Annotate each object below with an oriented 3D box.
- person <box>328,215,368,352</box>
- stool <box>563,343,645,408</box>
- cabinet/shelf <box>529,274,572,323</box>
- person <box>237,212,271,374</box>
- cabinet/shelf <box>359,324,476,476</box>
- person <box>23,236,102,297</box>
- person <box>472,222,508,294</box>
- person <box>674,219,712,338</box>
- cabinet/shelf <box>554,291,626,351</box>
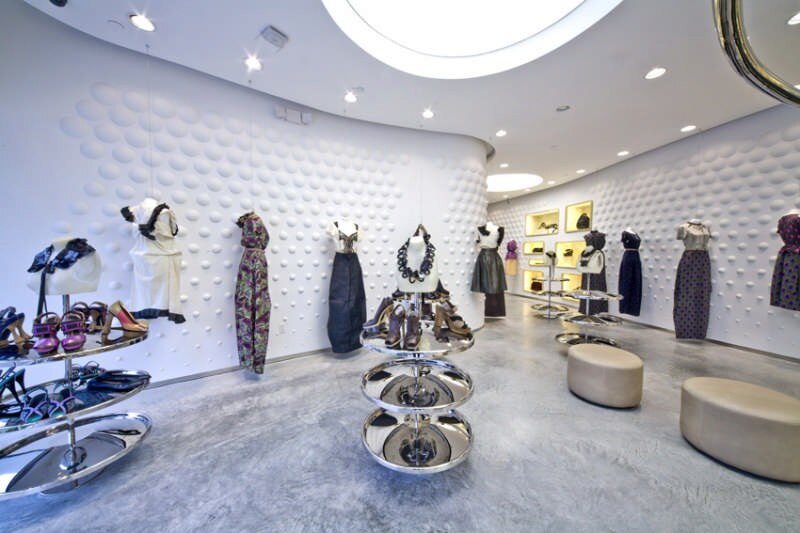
[{"bbox_3d":[-0.754,0.305,6.002,0.584,1.921,0.386,0,0,-15],"label":"person"},{"bbox_3d":[2.367,1.275,4.788,0.669,0.474,0.695,5,5,20],"label":"stool"},{"bbox_3d":[3.264,0.725,8.800,0.993,1.152,1.014,0,-4,-3],"label":"cabinet/shelf"},{"bbox_3d":[-1.918,0.318,5.394,0.418,2.062,0.205,0,0,-18],"label":"person"},{"bbox_3d":[0.194,1.323,4.420,1.217,1.491,1.285,7,18,20],"label":"cabinet/shelf"},{"bbox_3d":[-3.331,-0.002,4.178,0.714,0.717,0.528,-1,-2,19],"label":"person"},{"bbox_3d":[1.524,-0.173,7.119,0.466,0.998,0.532,-1,0,29],"label":"person"},{"bbox_3d":[4.555,0.214,6.438,0.457,2.105,0.291,-1,0,35],"label":"person"},{"bbox_3d":[3.018,0.860,6.428,0.958,1.091,1.001,-1,4,3],"label":"cabinet/shelf"}]
